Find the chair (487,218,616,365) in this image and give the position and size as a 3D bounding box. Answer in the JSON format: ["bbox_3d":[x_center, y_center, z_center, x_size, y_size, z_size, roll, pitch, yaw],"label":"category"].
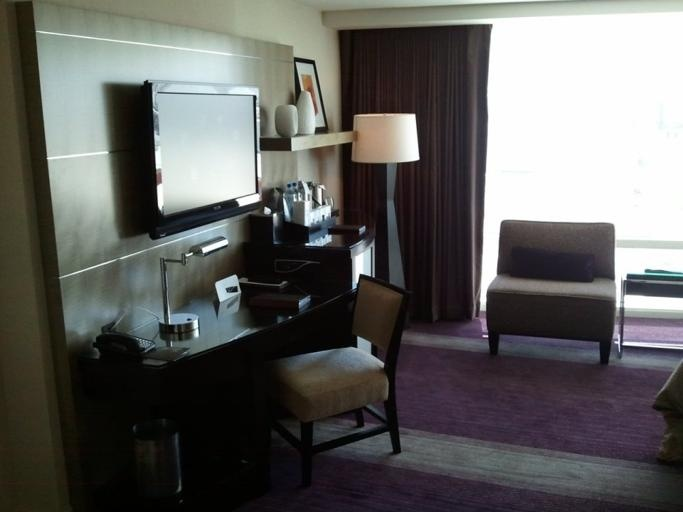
[{"bbox_3d":[1.779,0.254,4.893,1.190,0.988,1.176,-1,8,0],"label":"chair"}]

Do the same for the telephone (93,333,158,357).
[{"bbox_3d":[-1.038,0.406,2.748,0.291,0.100,0.121,1,15,6],"label":"telephone"}]

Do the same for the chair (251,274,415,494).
[{"bbox_3d":[0.013,0.588,3.736,1.060,1.459,0.908,-3,10,-29],"label":"chair"}]

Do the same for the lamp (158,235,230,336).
[{"bbox_3d":[-0.850,0.135,3.132,0.342,0.426,0.452,4,16,19],"label":"lamp"}]

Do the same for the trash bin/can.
[{"bbox_3d":[-0.950,1.051,3.007,0.232,0.330,0.275,-6,16,-19],"label":"trash bin/can"}]
